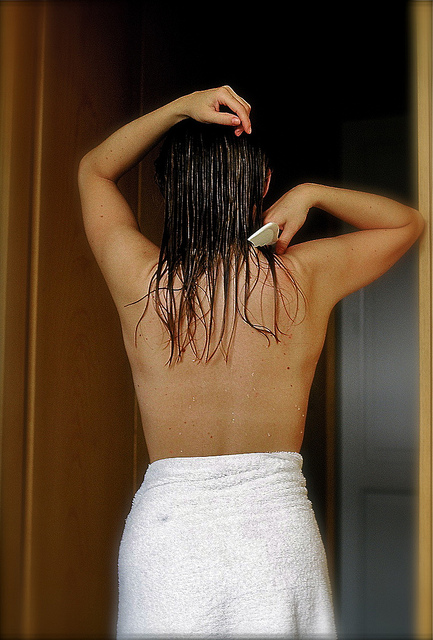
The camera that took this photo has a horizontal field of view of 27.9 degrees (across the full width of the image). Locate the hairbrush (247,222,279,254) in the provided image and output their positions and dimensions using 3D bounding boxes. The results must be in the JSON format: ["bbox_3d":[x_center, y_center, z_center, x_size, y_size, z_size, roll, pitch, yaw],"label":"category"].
[{"bbox_3d":[0.061,-0.109,1.147,0.037,0.016,0.027,-29,-30,17],"label":"hairbrush"}]
